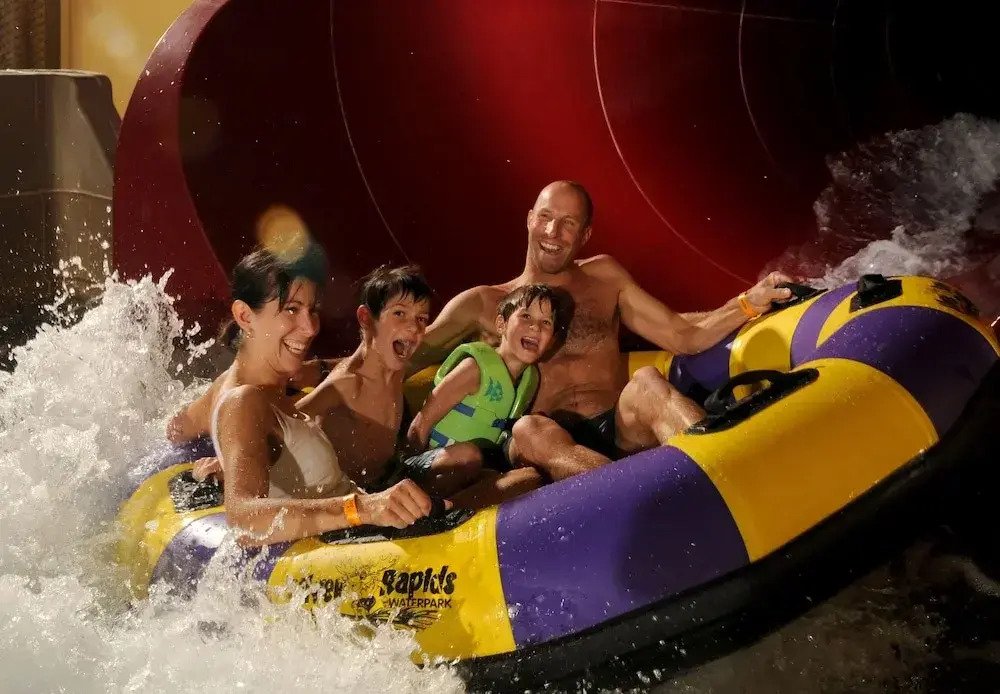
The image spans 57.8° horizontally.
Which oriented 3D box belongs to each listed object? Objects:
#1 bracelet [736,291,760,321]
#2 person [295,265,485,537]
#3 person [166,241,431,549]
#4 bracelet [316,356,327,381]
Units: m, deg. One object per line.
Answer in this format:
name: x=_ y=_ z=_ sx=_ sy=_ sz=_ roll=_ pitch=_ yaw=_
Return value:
bracelet: x=0.978 y=-0.158 z=3.576 sx=0.071 sy=0.036 sz=0.103 roll=15 pitch=40 yaw=-49
person: x=-0.500 y=0.119 z=3.317 sx=0.663 sy=1.116 sz=0.649 roll=2 pitch=1 yaw=25
person: x=-0.629 y=0.173 z=2.999 sx=0.725 sy=1.009 sz=1.075 roll=-5 pitch=-3 yaw=-18
bracelet: x=-0.692 y=0.081 z=3.560 sx=0.016 sy=0.074 sz=0.066 roll=10 pitch=-12 yaw=-13
